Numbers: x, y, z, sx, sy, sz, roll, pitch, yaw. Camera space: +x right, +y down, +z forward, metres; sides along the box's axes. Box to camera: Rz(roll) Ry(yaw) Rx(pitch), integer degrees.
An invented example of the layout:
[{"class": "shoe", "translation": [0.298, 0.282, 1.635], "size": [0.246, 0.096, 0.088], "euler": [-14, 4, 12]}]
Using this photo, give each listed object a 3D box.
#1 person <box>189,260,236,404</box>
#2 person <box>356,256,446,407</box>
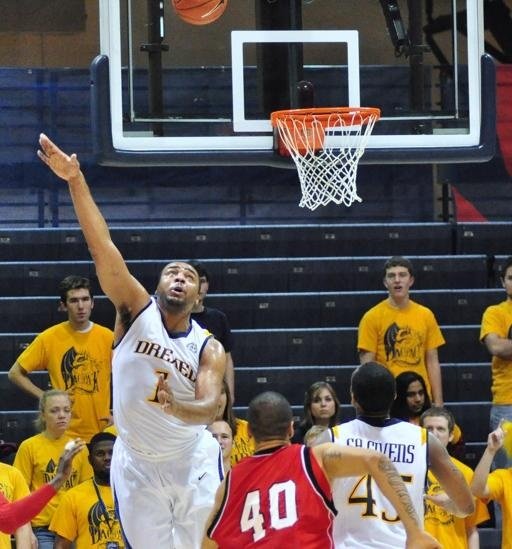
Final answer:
[{"class": "person", "translation": [-0.368, 0.635, 12.044], "size": [0.403, 1.395, 0.306], "euler": [3, 18, 8]}, {"class": "person", "translation": [1.066, 0.753, 12.039], "size": [0.607, 1.650, 0.454], "euler": [-1, 14, -3]}]
